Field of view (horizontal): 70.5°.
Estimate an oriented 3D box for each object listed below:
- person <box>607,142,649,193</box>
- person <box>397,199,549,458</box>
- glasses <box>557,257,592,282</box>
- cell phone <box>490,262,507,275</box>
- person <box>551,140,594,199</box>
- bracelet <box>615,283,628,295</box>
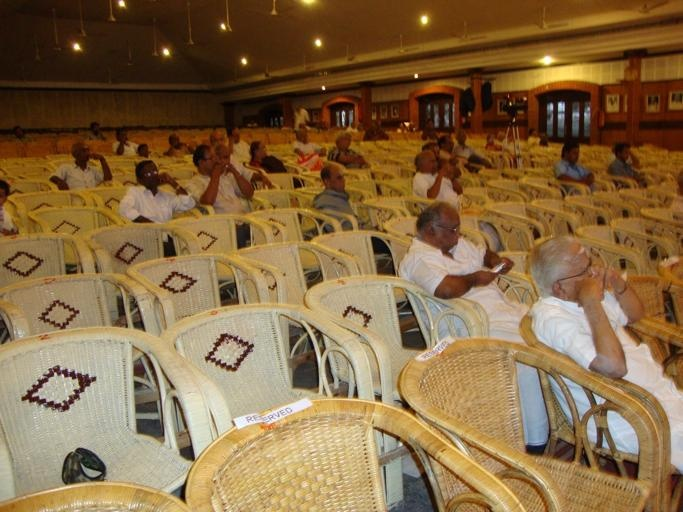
[{"bbox_3d":[4.897,-1.540,8.260,0.597,0.718,0.600,-1,17,1],"label":"person"},{"bbox_3d":[0.744,0.281,2.914,0.784,1.191,1.247,0,11,6],"label":"person"},{"bbox_3d":[1.007,0.068,2.113,0.123,0.036,0.119,-21,-1,-21],"label":"glasses"},{"bbox_3d":[0.928,0.072,2.871,0.052,0.068,0.157,6,13,32],"label":"cell phone"},{"bbox_3d":[3.660,-1.314,7.563,0.600,0.905,0.635,0,6,29],"label":"person"},{"bbox_3d":[1.325,0.149,2.290,0.042,0.011,0.044,-34,-9,9],"label":"bracelet"}]
